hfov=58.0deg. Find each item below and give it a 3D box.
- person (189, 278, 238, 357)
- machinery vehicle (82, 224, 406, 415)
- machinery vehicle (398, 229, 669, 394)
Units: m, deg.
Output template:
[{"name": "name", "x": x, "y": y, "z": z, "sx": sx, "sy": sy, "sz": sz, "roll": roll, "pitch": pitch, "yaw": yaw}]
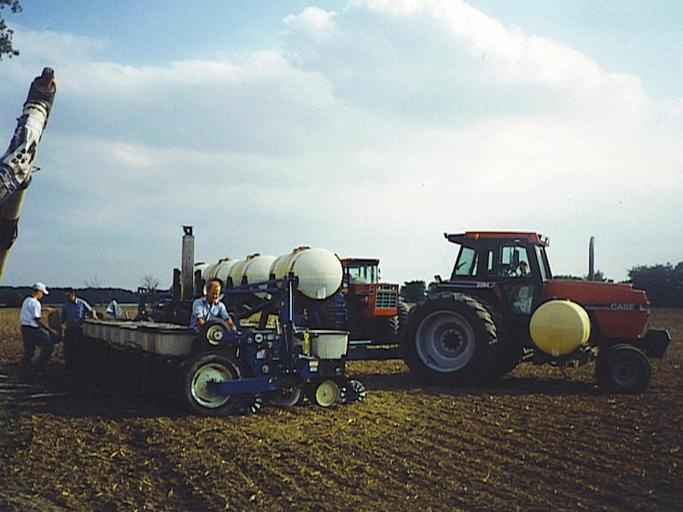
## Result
[{"name": "person", "x": -2.019, "y": 1.035, "z": 9.470, "sx": 0.459, "sy": 1.257, "sz": 0.694, "roll": 0, "pitch": 17, "yaw": -28}, {"name": "machinery vehicle", "x": -1.983, "y": 1.368, "z": 10.645, "sx": 5.331, "sy": 3.426, "sz": 3.397, "roll": -3, "pitch": 0, "yaw": -4}, {"name": "machinery vehicle", "x": 3.580, "y": 1.168, "z": 12.087, "sx": 4.932, "sy": 3.803, "sz": 2.954, "roll": -4, "pitch": -3, "yaw": 17}]
